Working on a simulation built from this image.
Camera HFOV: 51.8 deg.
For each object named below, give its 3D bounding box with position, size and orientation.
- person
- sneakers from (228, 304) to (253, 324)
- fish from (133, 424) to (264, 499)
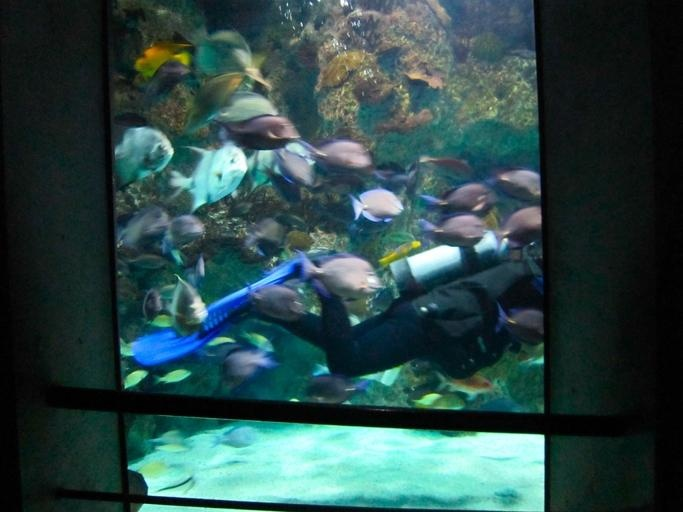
[{"bbox_3d":[0.400,0.353,4.223,1.370,0.541,0.745,4,-8,2],"label":"person"},{"bbox_3d":[-0.587,0.340,4.093,0.126,0.049,0.095,-44,-27,27],"label":"sneakers"},{"bbox_3d":[-0.799,1.074,3.791,0.431,0.147,0.344,-27,29,-13],"label":"fish"}]
